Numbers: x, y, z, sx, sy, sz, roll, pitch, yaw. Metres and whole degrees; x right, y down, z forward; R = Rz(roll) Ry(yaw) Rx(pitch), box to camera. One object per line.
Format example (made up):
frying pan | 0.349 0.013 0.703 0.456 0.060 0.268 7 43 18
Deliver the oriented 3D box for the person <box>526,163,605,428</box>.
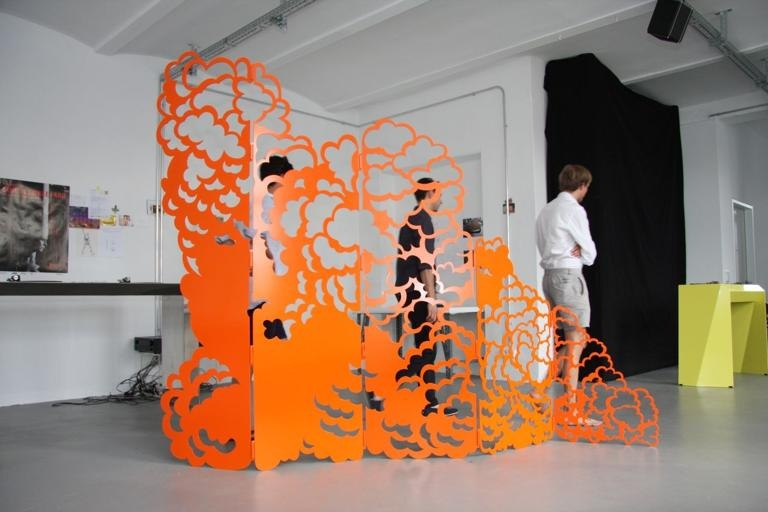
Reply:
person | 1.550 0.202 5.007 0.429 1.947 0.563 -1 2 1

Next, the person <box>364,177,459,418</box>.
person | 0.241 0.387 4.917 0.601 2.048 0.992 0 2 7

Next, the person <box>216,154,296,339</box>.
person | -0.845 -0.066 4.448 0.324 1.384 0.412 -1 2 -5

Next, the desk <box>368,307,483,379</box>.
desk | 0.564 0.862 7.260 1.070 0.766 1.118 -4 -9 32
